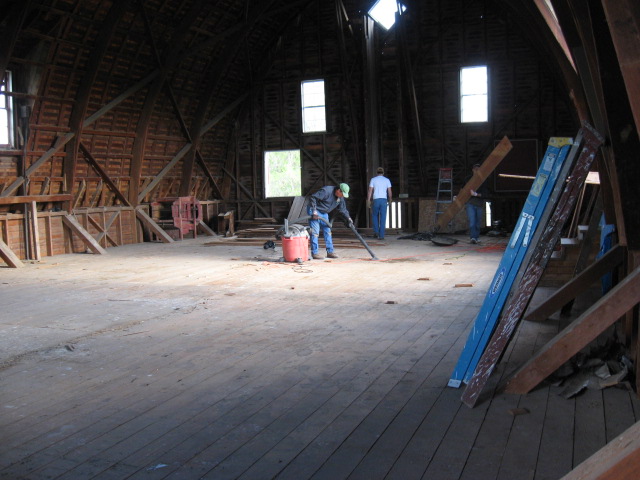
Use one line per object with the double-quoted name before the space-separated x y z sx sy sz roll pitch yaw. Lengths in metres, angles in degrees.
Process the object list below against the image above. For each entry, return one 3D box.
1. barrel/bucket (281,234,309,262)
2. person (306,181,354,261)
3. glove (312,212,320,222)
"barrel/bucket" -0.605 0.180 11.008 0.611 0.585 0.611 -1 9 0
"person" 0.197 -0.454 11.352 0.987 1.846 0.737 -2 7 -1
"glove" -0.092 -0.574 11.194 0.145 0.079 0.202 -8 28 -14
